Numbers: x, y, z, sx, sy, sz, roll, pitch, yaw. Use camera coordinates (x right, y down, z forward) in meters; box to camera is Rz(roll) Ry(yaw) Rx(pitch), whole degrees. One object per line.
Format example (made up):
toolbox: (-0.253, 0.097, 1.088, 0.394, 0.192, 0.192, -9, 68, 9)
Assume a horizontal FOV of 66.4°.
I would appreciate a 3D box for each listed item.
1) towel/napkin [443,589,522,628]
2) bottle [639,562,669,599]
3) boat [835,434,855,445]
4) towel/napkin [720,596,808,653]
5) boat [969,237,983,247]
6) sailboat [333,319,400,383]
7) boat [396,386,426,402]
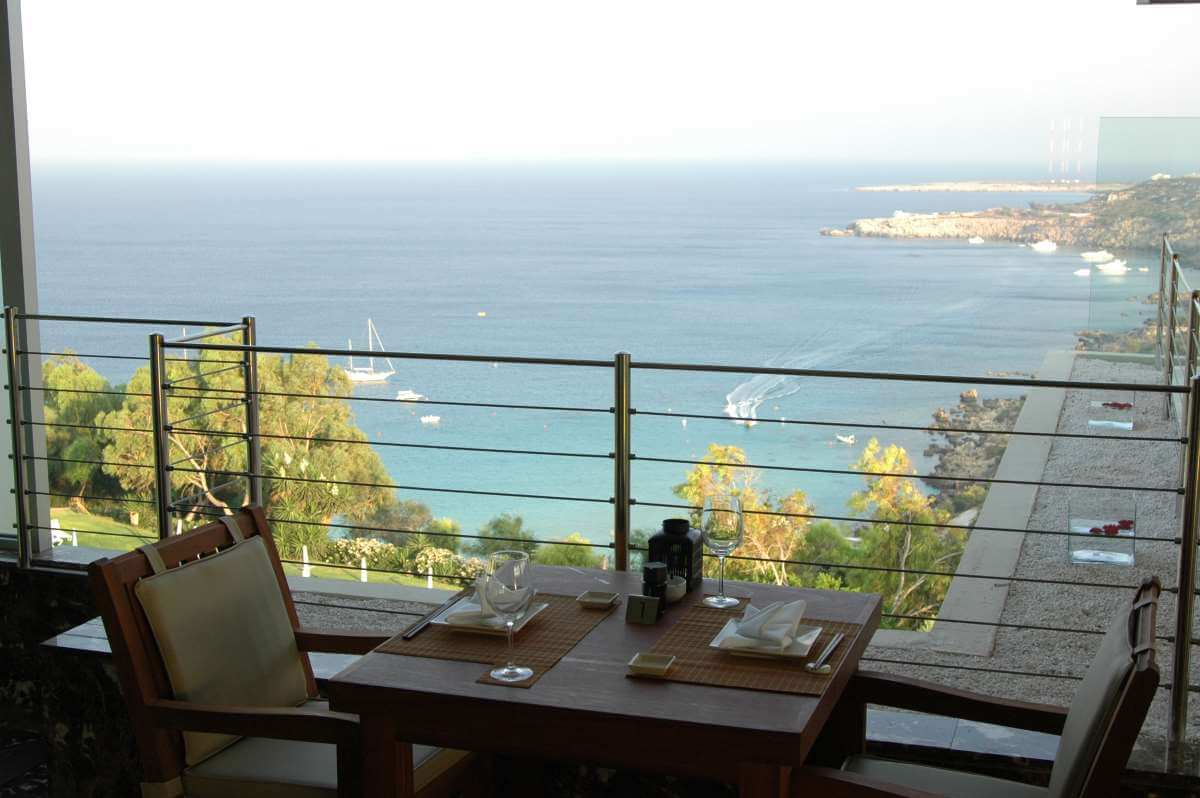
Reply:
towel/napkin: (-0.310, 0.519, 2.329, 0.143, 0.030, 0.141, 1, 5, 10)
bottle: (0.147, 0.486, 2.449, 0.088, 0.113, 0.085, -1, 10, 0)
boat: (7.984, 1.324, 29.730, 0.632, 0.198, 0.902, 2, 11, 17)
towel/napkin: (0.414, 0.560, 2.237, 0.125, 0.039, 0.123, -7, 16, 28)
boat: (13.827, -5.816, 33.601, 0.594, 0.337, 0.357, 4, 12, 26)
sailboat: (-9.361, -1.710, 37.015, 1.786, 2.175, 3.322, -4, 11, -12)
boat: (-5.189, -0.174, 25.169, 0.583, 0.175, 0.409, 3, 8, 32)
